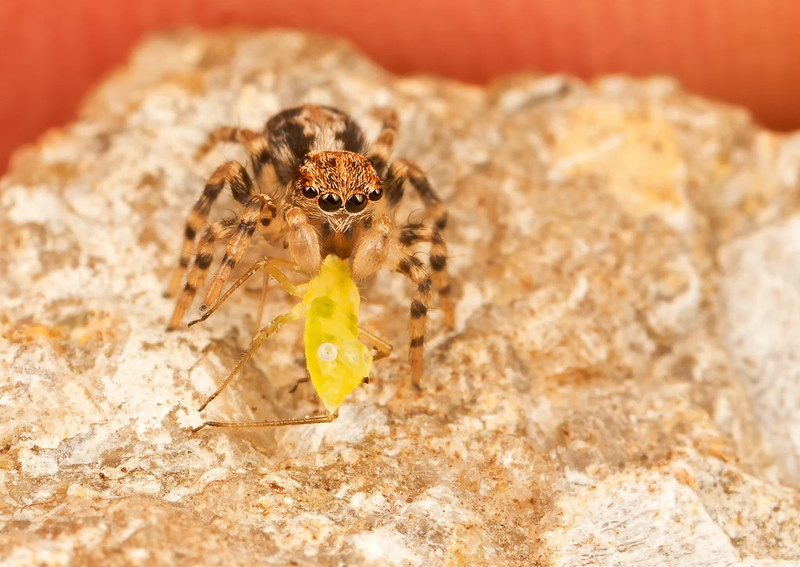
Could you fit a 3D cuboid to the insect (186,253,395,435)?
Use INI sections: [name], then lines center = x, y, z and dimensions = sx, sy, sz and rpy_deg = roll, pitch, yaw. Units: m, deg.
[insect]
center = -0.216, 0.149, 2.159
dimensions = 0.346, 0.138, 0.459
rpy_deg = 29, 61, -21
